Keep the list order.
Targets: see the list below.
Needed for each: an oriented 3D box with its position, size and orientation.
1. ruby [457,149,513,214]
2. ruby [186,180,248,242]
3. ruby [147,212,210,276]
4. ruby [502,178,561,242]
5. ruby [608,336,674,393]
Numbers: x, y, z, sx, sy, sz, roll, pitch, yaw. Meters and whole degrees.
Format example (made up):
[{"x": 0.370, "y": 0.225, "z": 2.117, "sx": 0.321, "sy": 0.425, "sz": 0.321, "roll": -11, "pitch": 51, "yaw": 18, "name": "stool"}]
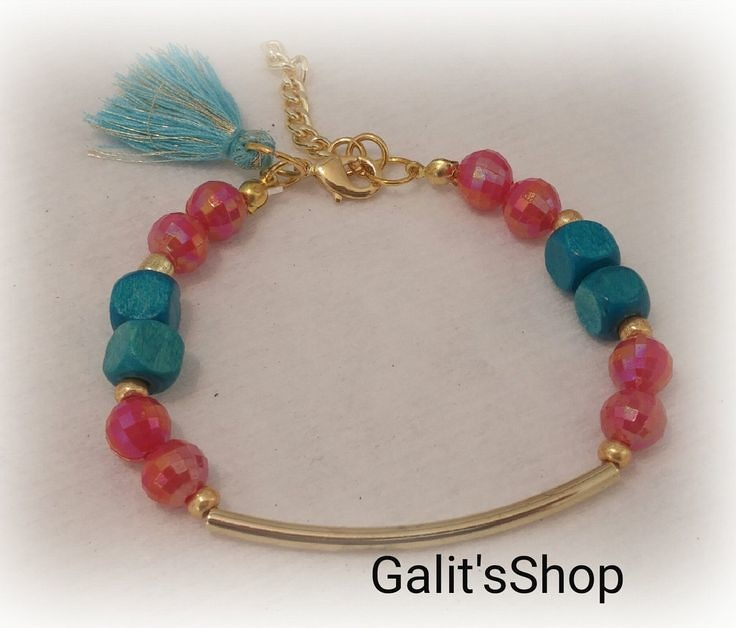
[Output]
[{"x": 0.290, "y": -0.332, "z": 2.177, "sx": 0.150, "sy": 0.159, "sz": 0.148, "roll": 0, "pitch": 8, "yaw": 11, "name": "ruby"}, {"x": -0.366, "y": -0.247, "z": 2.127, "sx": 0.143, "sy": 0.151, "sz": 0.139, "roll": 7, "pitch": 4, "yaw": 7, "name": "ruby"}, {"x": -0.451, "y": -0.168, "z": 2.071, "sx": 0.139, "sy": 0.144, "sz": 0.095, "roll": 10, "pitch": 3, "yaw": -19, "name": "ruby"}, {"x": 0.396, "y": -0.264, "z": 2.203, "sx": 0.146, "sy": 0.156, "sz": 0.144, "roll": 5, "pitch": 2, "yaw": 12, "name": "ruby"}, {"x": 0.618, "y": 0.120, "z": 1.967, "sx": 0.131, "sy": 0.139, "sz": 0.065, "roll": -12, "pitch": 6, "yaw": -9, "name": "ruby"}]
